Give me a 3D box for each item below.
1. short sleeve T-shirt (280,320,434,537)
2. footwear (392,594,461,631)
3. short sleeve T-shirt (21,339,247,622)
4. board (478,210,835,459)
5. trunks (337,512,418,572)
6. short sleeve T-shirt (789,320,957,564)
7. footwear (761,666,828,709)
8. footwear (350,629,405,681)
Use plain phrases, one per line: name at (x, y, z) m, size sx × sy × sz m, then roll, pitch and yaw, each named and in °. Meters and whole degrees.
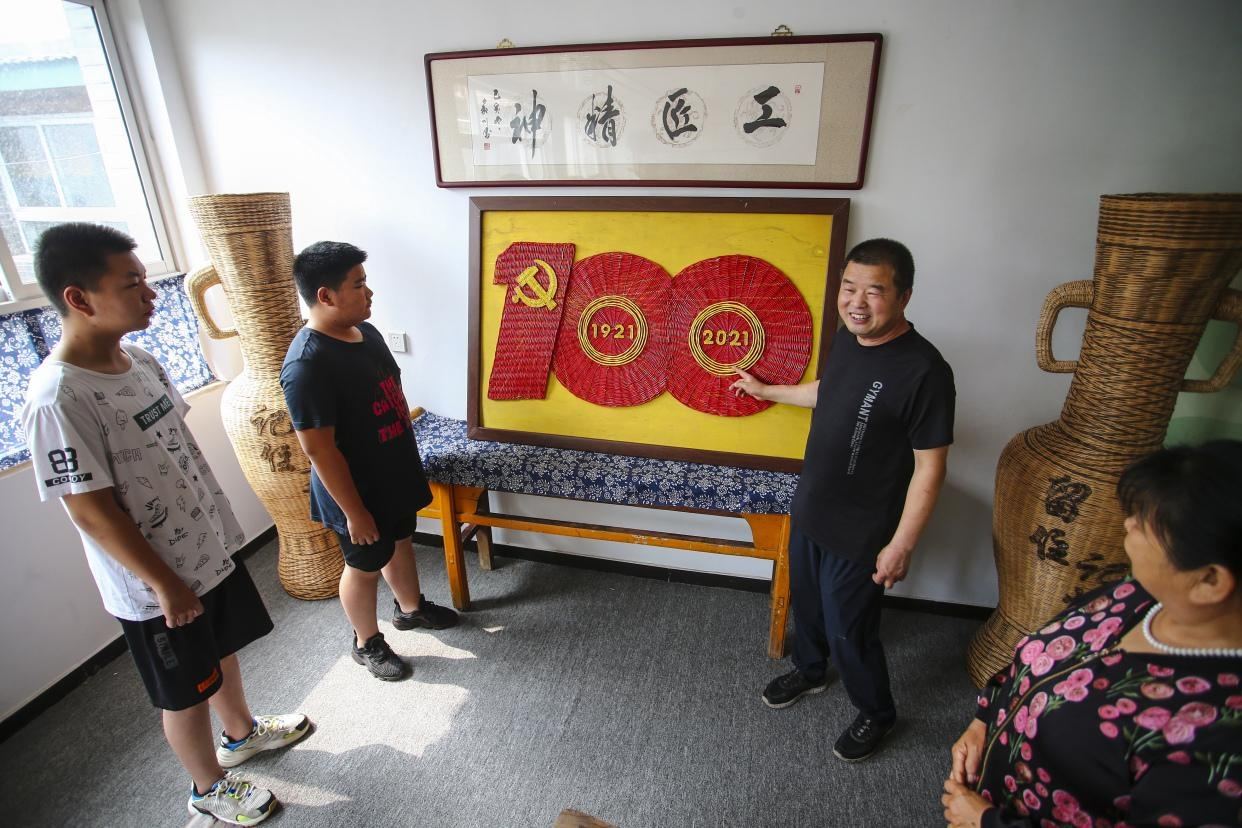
short sleeve T-shirt at (-1.113, 0.085, 3.193) m, size 0.502 × 0.863 × 0.737 m, roll 6°, pitch 24°, yaw 11°
footwear at (-0.893, 0.937, 3.618) m, size 0.311 × 0.147 × 0.134 m, roll -2°, pitch 26°, yaw -9°
short sleeve T-shirt at (-1.694, 0.228, 2.701) m, size 0.394 × 0.883 × 0.524 m, roll 16°, pitch 28°, yaw 39°
board at (0.216, -0.376, 3.435) m, size 1.120 × 0.757 × 0.048 m, roll 3°, pitch 14°, yaw 10°
trunks at (-1.017, 0.532, 3.235) m, size 0.136 × 0.217 × 0.231 m, roll 9°, pitch 30°, yaw 11°
short sleeve T-shirt at (0.941, 0.111, 2.914) m, size 0.549 × 0.839 × 0.343 m, roll 8°, pitch 24°, yaw 25°
footwear at (0.765, 1.159, 3.334) m, size 0.333 × 0.141 × 0.120 m, roll -11°, pitch 42°, yaw -3°
footwear at (-1.045, 1.070, 3.444) m, size 0.305 × 0.146 × 0.128 m, roll 26°, pitch 37°, yaw 22°
